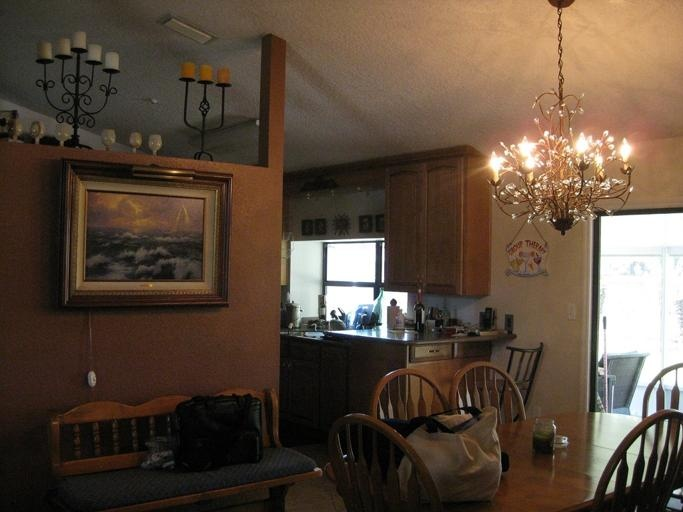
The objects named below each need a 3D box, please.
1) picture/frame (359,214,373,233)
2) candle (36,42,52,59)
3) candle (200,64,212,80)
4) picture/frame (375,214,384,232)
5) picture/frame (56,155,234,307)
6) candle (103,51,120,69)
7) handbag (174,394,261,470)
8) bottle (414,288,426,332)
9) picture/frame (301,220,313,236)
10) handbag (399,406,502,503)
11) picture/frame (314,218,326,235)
[{"bbox_3d":[0.282,-0.362,6.791,0.021,0.205,0.202,0,2,-38],"label":"picture/frame"},{"bbox_3d":[-2.178,-1.482,4.370,0.079,0.150,0.101,2,-2,-33],"label":"candle"},{"bbox_3d":[-0.987,-1.317,4.349,0.081,0.117,0.077,2,-2,-24],"label":"candle"},{"bbox_3d":[0.429,-0.357,6.642,0.033,0.233,0.199,-1,3,-31],"label":"picture/frame"},{"bbox_3d":[-1.332,-0.148,3.887,0.995,0.875,0.110,1,-4,-24],"label":"picture/frame"},{"bbox_3d":[-1.690,-1.405,4.381,0.093,0.148,0.147,2,-2,-28],"label":"candle"},{"bbox_3d":[-0.717,0.998,3.662,0.611,0.553,0.366,3,-10,-28],"label":"handbag"},{"bbox_3d":[0.758,0.520,5.755,0.084,0.411,0.256,1,-2,7],"label":"bottle"},{"bbox_3d":[-0.429,-0.342,7.418,0.026,0.200,0.210,3,-2,-43],"label":"picture/frame"},{"bbox_3d":[0.481,0.901,2.740,0.459,0.199,0.340,-4,-6,22],"label":"handbag"},{"bbox_3d":[-0.256,-0.352,7.265,0.029,0.206,0.192,-2,3,-40],"label":"picture/frame"}]
